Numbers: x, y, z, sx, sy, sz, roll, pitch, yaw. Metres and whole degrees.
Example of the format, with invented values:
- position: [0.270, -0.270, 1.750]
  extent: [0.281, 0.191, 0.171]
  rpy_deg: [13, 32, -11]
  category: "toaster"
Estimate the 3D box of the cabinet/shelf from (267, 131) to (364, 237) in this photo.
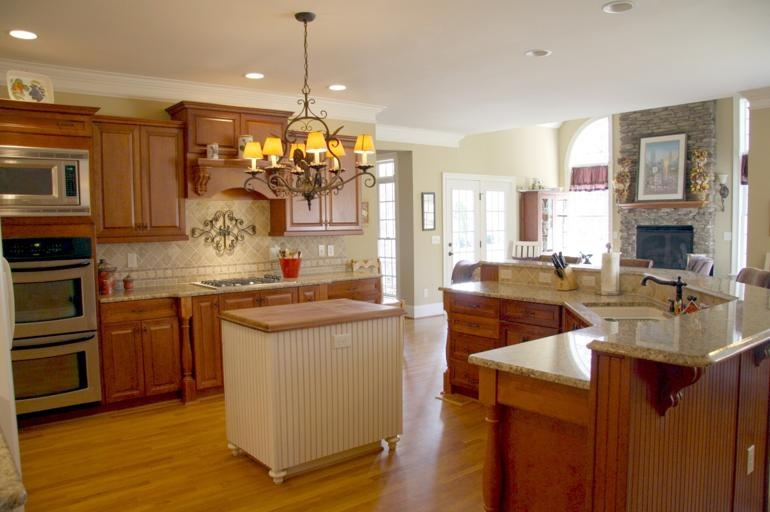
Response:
- position: [-0.784, -0.749, 5.851]
  extent: [1.446, 1.243, 0.546]
  rpy_deg: [-1, 1, -43]
  category: "cabinet/shelf"

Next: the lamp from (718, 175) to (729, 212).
- position: [5.422, -1.003, 8.798]
  extent: [0.150, 0.566, 0.104]
  rpy_deg: [-8, 12, -34]
  category: "lamp"

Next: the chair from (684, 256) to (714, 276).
- position: [4.181, 0.129, 7.303]
  extent: [0.315, 0.355, 0.296]
  rpy_deg: [-1, 4, -9]
  category: "chair"

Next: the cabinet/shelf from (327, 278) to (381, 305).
- position: [-0.407, 0.437, 6.782]
  extent: [0.577, 0.449, 0.327]
  rpy_deg: [-4, 5, -39]
  category: "cabinet/shelf"

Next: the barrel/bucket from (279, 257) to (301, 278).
- position: [-1.118, 0.144, 6.442]
  extent: [0.245, 0.179, 0.244]
  rpy_deg: [0, -2, 0]
  category: "barrel/bucket"

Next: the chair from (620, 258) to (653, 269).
- position: [3.012, 0.096, 6.619]
  extent: [0.277, 0.187, 0.266]
  rpy_deg: [0, 7, 4]
  category: "chair"

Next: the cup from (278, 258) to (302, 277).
- position: [-1.090, 0.140, 6.383]
  extent: [0.225, 0.165, 0.223]
  rpy_deg: [-1, -3, 0]
  category: "cup"

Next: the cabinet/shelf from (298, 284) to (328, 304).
- position: [-0.840, 0.426, 6.339]
  extent: [0.339, 0.220, 0.182]
  rpy_deg: [-2, 1, -42]
  category: "cabinet/shelf"

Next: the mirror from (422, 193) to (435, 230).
- position: [0.738, -0.735, 9.263]
  extent: [0.053, 0.688, 0.397]
  rpy_deg: [-5, 7, -32]
  category: "mirror"

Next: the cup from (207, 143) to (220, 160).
- position: [-1.872, -1.134, 5.958]
  extent: [0.139, 0.181, 0.178]
  rpy_deg: [-4, 10, -17]
  category: "cup"

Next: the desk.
- position: [-0.549, 1.068, 4.512]
  extent: [1.482, 1.245, 0.638]
  rpy_deg: [-3, 10, -16]
  category: "desk"

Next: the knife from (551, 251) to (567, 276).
- position: [1.725, 0.083, 5.410]
  extent: [0.137, 0.262, 0.343]
  rpy_deg: [2, 10, 18]
  category: "knife"

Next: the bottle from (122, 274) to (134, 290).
- position: [-2.733, 0.270, 5.830]
  extent: [0.137, 0.141, 0.145]
  rpy_deg: [1, -4, 8]
  category: "bottle"

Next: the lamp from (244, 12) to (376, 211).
- position: [-0.704, -1.341, 4.973]
  extent: [1.246, 1.629, 1.278]
  rpy_deg: [-5, 9, -23]
  category: "lamp"

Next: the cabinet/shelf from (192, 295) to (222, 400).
- position: [-1.869, 0.935, 5.759]
  extent: [0.309, 1.048, 0.125]
  rpy_deg: [-4, 11, -19]
  category: "cabinet/shelf"

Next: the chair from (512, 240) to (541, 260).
- position: [1.957, -0.074, 7.691]
  extent: [0.299, 0.399, 0.290]
  rpy_deg: [0, -1, 25]
  category: "chair"

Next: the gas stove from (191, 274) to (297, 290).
- position: [-1.604, 0.292, 6.254]
  extent: [1.052, 0.058, 0.772]
  rpy_deg: [-7, 11, -34]
  category: "gas stove"

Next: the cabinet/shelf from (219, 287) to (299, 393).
- position: [-1.333, 0.854, 6.000]
  extent: [0.970, 0.840, 0.572]
  rpy_deg: [-5, 12, -32]
  category: "cabinet/shelf"

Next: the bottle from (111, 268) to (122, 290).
- position: [-2.833, 0.234, 5.772]
  extent: [0.085, 0.252, 0.275]
  rpy_deg: [-4, 10, -19]
  category: "bottle"

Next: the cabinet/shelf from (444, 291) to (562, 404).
- position: [0.985, 0.707, 4.515]
  extent: [1.181, 0.945, 0.625]
  rpy_deg: [1, 2, 44]
  category: "cabinet/shelf"

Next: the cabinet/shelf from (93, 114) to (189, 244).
- position: [-2.554, -0.791, 5.744]
  extent: [0.897, 1.273, 0.271]
  rpy_deg: [-5, 11, -21]
  category: "cabinet/shelf"
